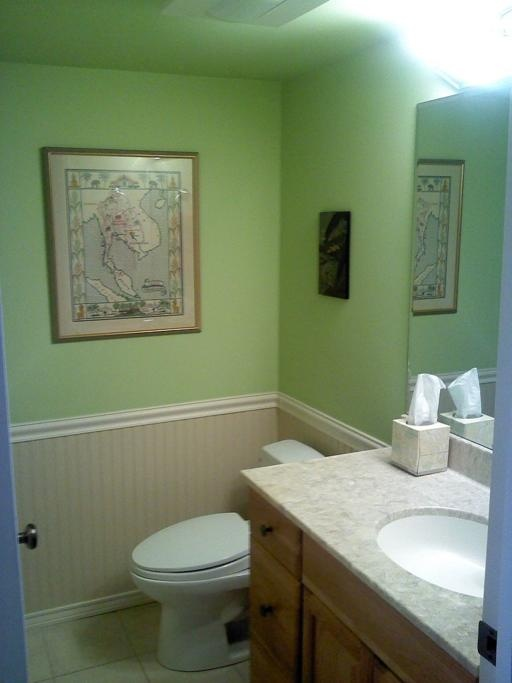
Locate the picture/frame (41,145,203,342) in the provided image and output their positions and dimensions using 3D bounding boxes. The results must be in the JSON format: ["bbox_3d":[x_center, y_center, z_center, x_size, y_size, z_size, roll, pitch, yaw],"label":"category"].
[{"bbox_3d":[-0.538,-0.404,2.200,0.721,0.935,0.034,-5,17,-24],"label":"picture/frame"}]

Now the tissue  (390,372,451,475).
[{"bbox_3d":[0.450,0.217,1.542,0.129,0.258,0.129,-1,7,-14],"label":"tissue "}]

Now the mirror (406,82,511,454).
[{"bbox_3d":[0.527,-0.195,1.505,0.087,0.911,0.370,-3,7,-13],"label":"mirror"}]

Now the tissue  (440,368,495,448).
[{"bbox_3d":[0.569,0.192,1.530,0.140,0.209,0.143,1,-2,23],"label":"tissue "}]

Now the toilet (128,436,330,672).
[{"bbox_3d":[-0.141,0.842,2.441,0.894,0.974,0.549,0,3,-29],"label":"toilet"}]
